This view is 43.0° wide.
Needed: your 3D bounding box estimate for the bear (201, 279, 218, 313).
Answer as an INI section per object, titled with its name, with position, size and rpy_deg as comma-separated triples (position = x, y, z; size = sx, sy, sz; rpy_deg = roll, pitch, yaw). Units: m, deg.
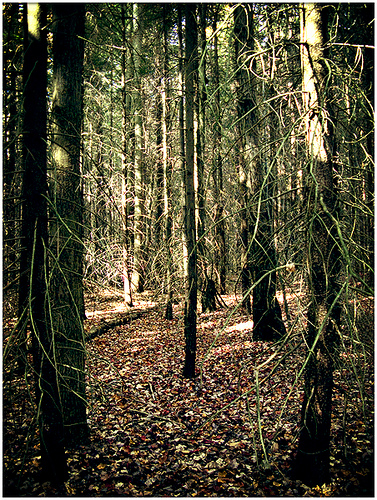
[bear]
position = 0.532, 1.150, 12.081
size = 0.261, 0.768, 0.662
rpy_deg = 7, 15, 43
